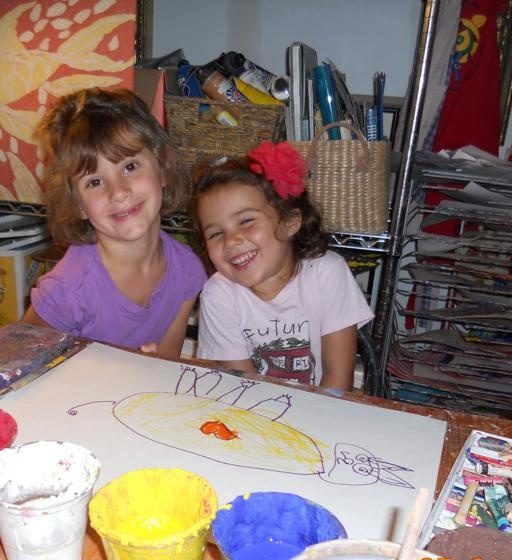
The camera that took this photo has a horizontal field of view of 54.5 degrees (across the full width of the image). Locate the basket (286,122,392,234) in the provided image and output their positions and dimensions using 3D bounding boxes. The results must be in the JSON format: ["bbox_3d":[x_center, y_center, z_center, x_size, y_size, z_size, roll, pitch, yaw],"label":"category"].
[{"bbox_3d":[0.195,-0.236,1.181,0.327,0.297,0.119,5,44,10],"label":"basket"}]

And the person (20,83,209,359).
[{"bbox_3d":[-0.356,-0.092,1.178,0.475,0.655,0.308,-13,4,-28],"label":"person"}]

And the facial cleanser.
[{"bbox_3d":[-0.052,-0.499,1.412,0.383,0.215,0.280,11,23,35],"label":"facial cleanser"}]

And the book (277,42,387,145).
[{"bbox_3d":[0.216,-0.457,1.294,0.348,0.239,0.197,7,19,18],"label":"book"}]

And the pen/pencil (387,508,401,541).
[{"bbox_3d":[0.136,0.241,0.489,0.005,0.027,0.005,24,-7,-9],"label":"pen/pencil"}]
